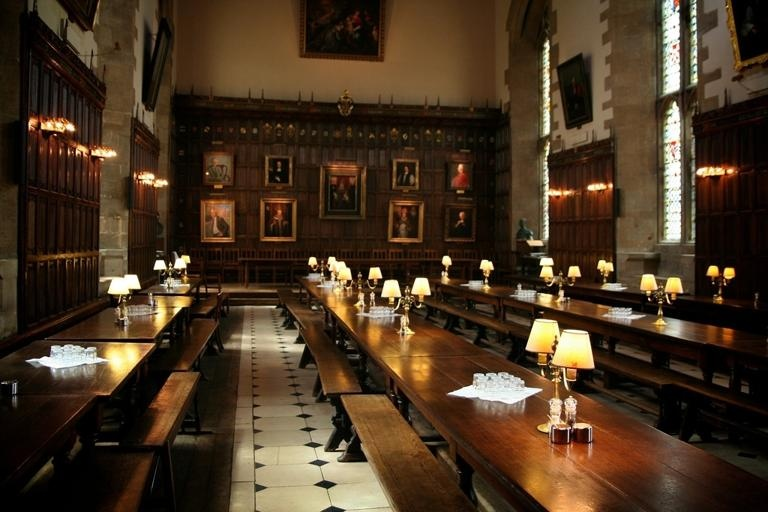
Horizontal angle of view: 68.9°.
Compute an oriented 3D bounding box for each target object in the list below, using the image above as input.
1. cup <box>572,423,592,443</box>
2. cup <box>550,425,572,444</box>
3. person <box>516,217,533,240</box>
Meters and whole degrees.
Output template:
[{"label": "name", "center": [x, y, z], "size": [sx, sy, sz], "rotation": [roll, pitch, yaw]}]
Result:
[{"label": "cup", "center": [1.395, 1.250, 3.950], "size": [0.117, 0.108, 0.123], "rotation": [-1, -5, 0]}, {"label": "cup", "center": [1.233, 1.258, 3.905], "size": [0.122, 0.112, 0.127], "rotation": [1, -2, 0]}, {"label": "person", "center": [4.640, -0.924, 18.692], "size": [0.584, 0.924, 0.283], "rotation": [-6, 15, 34]}]
